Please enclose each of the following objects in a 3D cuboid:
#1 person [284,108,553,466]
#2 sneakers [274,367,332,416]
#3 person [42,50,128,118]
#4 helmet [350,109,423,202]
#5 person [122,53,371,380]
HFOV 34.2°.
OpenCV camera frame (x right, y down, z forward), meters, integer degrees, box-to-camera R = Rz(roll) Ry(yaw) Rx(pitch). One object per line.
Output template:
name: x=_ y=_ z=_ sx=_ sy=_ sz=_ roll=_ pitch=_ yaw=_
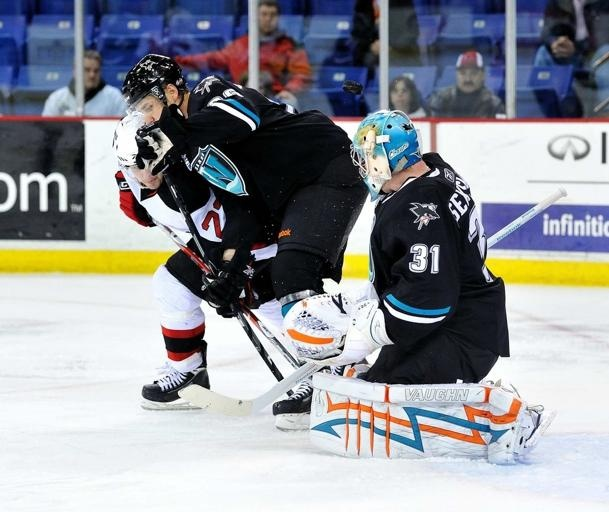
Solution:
person: x=0.428 y=0.102 z=3.512 sx=0.898 sy=1.203 sz=0.393 roll=2 pitch=14 yaw=11
sneakers: x=0.031 y=0.599 z=4.015 sx=0.114 sy=0.170 sz=0.360 roll=-6 pitch=-7 yaw=32
person: x=-1.560 y=-1.155 z=7.003 sx=0.802 sy=0.577 sz=0.246 roll=-5 pitch=15 yaw=-33
helmet: x=0.295 y=-0.373 z=3.592 sx=0.272 sy=0.269 sz=0.228 roll=-12 pitch=11 yaw=-3
person: x=-0.218 y=-0.144 z=3.992 sx=1.005 sy=1.283 sz=0.690 roll=-3 pitch=-18 yaw=-31
